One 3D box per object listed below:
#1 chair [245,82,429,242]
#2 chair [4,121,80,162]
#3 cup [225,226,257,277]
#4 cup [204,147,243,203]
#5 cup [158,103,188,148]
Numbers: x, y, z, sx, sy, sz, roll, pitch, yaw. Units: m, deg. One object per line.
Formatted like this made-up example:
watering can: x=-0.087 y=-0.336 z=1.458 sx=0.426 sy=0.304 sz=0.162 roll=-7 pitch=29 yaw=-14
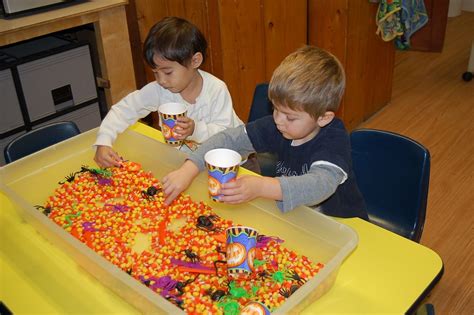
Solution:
chair: x=0.592 y=0.060 z=1.877 sx=0.433 sy=0.548 sz=0.733 roll=9 pitch=7 yaw=23
chair: x=-1.138 y=-0.089 z=2.105 sx=0.179 sy=0.278 sz=0.187 roll=-31 pitch=14 yaw=-24
cup: x=0.002 y=0.384 z=1.469 sx=0.169 sy=0.183 sz=0.168 roll=2 pitch=-21 yaw=1
cup: x=-0.073 y=0.060 z=1.606 sx=0.192 sy=0.209 sz=0.199 roll=3 pitch=21 yaw=-1
cup: x=-0.313 y=-0.144 z=1.908 sx=0.170 sy=0.159 sz=0.173 roll=8 pitch=2 yaw=0
